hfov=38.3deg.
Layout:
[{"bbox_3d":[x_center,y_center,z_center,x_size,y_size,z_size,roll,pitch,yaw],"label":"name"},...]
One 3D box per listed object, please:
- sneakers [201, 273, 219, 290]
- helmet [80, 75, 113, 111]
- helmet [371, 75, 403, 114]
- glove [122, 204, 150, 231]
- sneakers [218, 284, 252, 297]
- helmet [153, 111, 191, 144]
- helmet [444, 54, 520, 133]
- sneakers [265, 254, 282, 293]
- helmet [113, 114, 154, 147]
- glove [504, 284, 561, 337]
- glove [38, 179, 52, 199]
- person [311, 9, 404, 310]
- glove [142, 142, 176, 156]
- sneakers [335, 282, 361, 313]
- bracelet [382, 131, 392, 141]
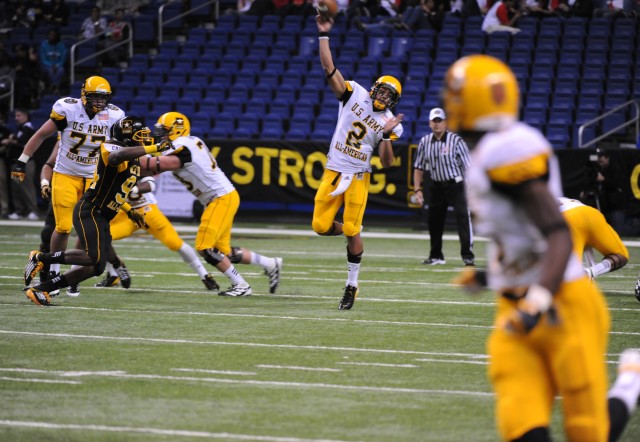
[{"bbox_3d":[-1.373,0.707,11.068,0.113,0.122,0.299,-37,31,-14],"label":"sneakers"},{"bbox_3d":[-2.615,-1.528,10.895,0.368,0.392,0.446,-1,27,-35],"label":"helmet"},{"bbox_3d":[0.721,-1.384,10.044,0.333,0.331,0.410,29,10,-7],"label":"helmet"},{"bbox_3d":[-2.114,-0.042,10.546,0.138,0.148,0.455,46,-3,20],"label":"glove"},{"bbox_3d":[-0.979,0.817,10.863,0.445,0.153,0.135,1,-1,-12],"label":"sneakers"},{"bbox_3d":[-1.770,-1.104,10.918,0.473,0.313,0.346,3,2,-2],"label":"helmet"},{"bbox_3d":[0.856,-0.758,5.395,0.404,0.385,0.487,-6,22,-19],"label":"helmet"},{"bbox_3d":[-0.549,0.615,10.879,0.224,0.426,0.159,-1,10,-14],"label":"sneakers"},{"bbox_3d":[-2.092,-0.992,10.172,0.472,0.313,0.313,-1,9,-7],"label":"helmet"},{"bbox_3d":[1.168,0.491,5.149,0.342,0.203,0.139,-38,0,4],"label":"glove"},{"bbox_3d":[-3.299,-0.387,10.967,0.125,0.084,0.284,9,33,-34],"label":"glove"},{"bbox_3d":[0.261,-0.599,9.922,1.044,3.102,0.592,-6,10,-42],"label":"person"},{"bbox_3d":[-1.798,-0.780,10.000,0.260,0.097,0.172,2,3,8],"label":"glove"},{"bbox_3d":[0.291,0.831,10.071,0.133,0.330,0.152,8,-23,40],"label":"sneakers"},{"bbox_3d":[0.700,-0.898,9.728,0.088,0.082,0.083,6,17,16],"label":"bracelet"}]
